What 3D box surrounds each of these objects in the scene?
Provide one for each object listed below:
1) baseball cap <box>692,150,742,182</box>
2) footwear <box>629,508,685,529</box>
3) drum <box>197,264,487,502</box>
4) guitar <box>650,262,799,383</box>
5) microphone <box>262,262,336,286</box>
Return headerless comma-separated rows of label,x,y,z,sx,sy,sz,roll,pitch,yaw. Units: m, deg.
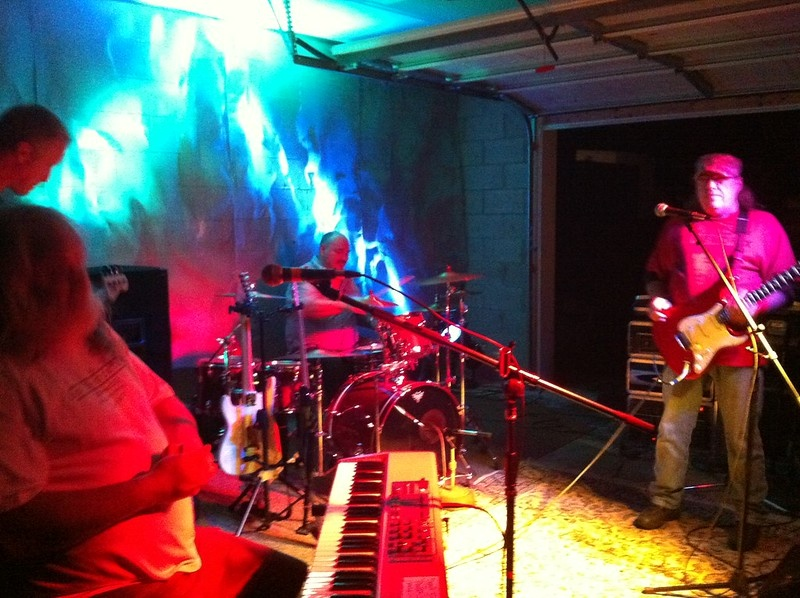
baseball cap,1.890,-0.784,4.085,0.215,0.101,0.203,3,4,15
footwear,1.563,1.341,4.199,0.340,0.113,0.113,2,-8,-23
drum,-0.426,0.586,4.915,1.631,1.389,1.463,-2,0,21
guitar,1.843,0.175,3.932,0.719,0.692,0.251,1,11,14
microphone,-0.397,-0.087,2.640,0.349,0.094,0.097,3,-4,-3
